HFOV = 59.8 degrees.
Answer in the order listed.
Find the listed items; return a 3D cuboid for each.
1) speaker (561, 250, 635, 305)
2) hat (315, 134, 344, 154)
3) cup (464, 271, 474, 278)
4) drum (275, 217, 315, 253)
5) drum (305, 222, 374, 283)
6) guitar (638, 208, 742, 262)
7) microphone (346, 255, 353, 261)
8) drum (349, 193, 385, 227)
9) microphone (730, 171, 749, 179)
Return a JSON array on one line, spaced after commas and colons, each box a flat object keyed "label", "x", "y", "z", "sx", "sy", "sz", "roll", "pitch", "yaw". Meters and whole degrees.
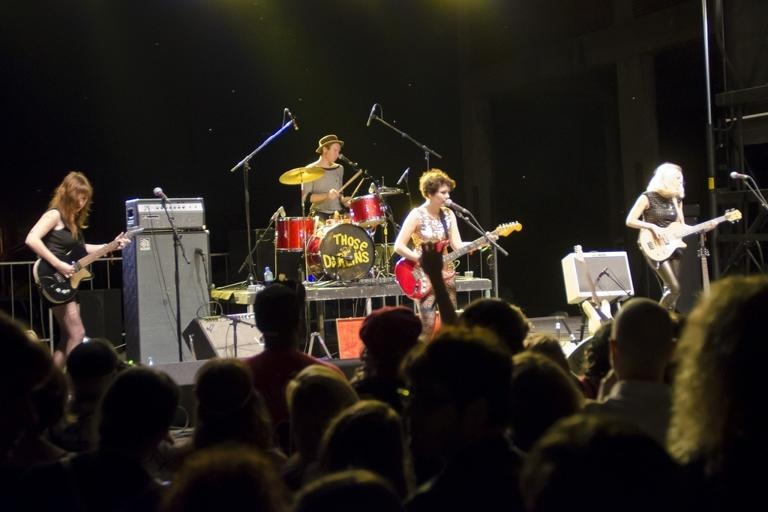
[{"label": "speaker", "x": 2.407, "y": 0.241, "z": 7.468, "sx": 0.693, "sy": 0.575, "sz": 0.250, "roll": -5, "pitch": -17, "yaw": -13}, {"label": "hat", "x": -0.677, "y": -1.387, "z": 8.195, "sx": 0.235, "sy": 0.233, "sz": 0.347, "roll": -1, "pitch": -1, "yaw": -15}, {"label": "cup", "x": 1.044, "y": 0.224, "z": 8.173, "sx": 0.090, "sy": 0.066, "sz": 0.088, "roll": 1, "pitch": 5, "yaw": 0}, {"label": "drum", "x": -1.030, "y": -0.234, "z": 7.768, "sx": 0.395, "sy": 0.328, "sz": 0.404, "roll": 0, "pitch": 1, "yaw": 41}, {"label": "drum", "x": -0.570, "y": 0.100, "z": 7.573, "sx": 0.784, "sy": 0.799, "sz": 0.548, "roll": -7, "pitch": 28, "yaw": -1}, {"label": "guitar", "x": 3.335, "y": -0.203, "z": 7.389, "sx": 0.930, "sy": 0.531, "sz": 0.380, "roll": -2, "pitch": -2, "yaw": -6}, {"label": "microphone", "x": -0.374, "y": 0.011, "z": 7.346, "sx": 0.075, "sy": 0.032, "sz": 0.031, "roll": 5, "pitch": -7, "yaw": 9}, {"label": "drum", "x": -0.208, "y": -0.508, "z": 7.680, "sx": 0.366, "sy": 0.291, "sz": 0.358, "roll": -7, "pitch": -15, "yaw": -2}, {"label": "microphone", "x": 3.944, "y": -0.896, "z": 7.426, "sx": 0.215, "sy": 0.074, "sz": 0.065, "roll": 9, "pitch": -16, "yaw": -30}]
